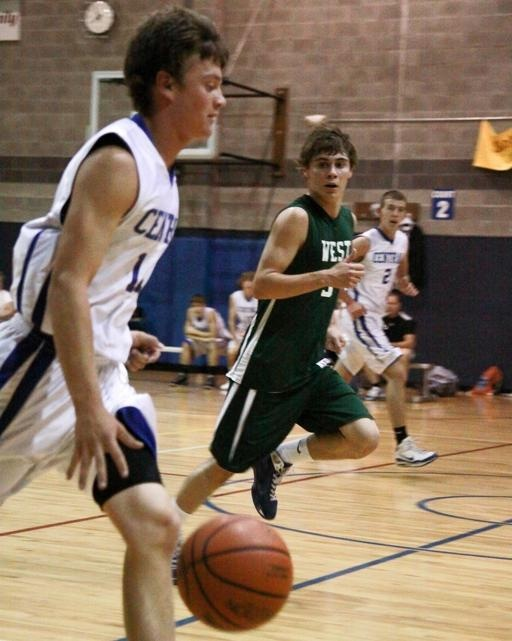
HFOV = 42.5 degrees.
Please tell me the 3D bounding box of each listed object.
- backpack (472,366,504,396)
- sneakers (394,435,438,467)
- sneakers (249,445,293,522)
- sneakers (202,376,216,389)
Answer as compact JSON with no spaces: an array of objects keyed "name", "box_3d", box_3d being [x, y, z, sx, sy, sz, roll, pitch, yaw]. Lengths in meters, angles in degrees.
[{"name":"backpack","box_3d":[3.110,0.817,8.857,0.419,0.407,0.295,1,-3,9]},{"name":"sneakers","box_3d":[1.006,0.858,4.228,0.379,0.224,0.123,-3,2,11]},{"name":"sneakers","box_3d":[0.054,0.671,2.766,0.157,0.312,0.123,-10,-8,29]},{"name":"sneakers","box_3d":[-0.625,0.845,8.986,0.167,0.137,0.158,-4,-14,42]}]
